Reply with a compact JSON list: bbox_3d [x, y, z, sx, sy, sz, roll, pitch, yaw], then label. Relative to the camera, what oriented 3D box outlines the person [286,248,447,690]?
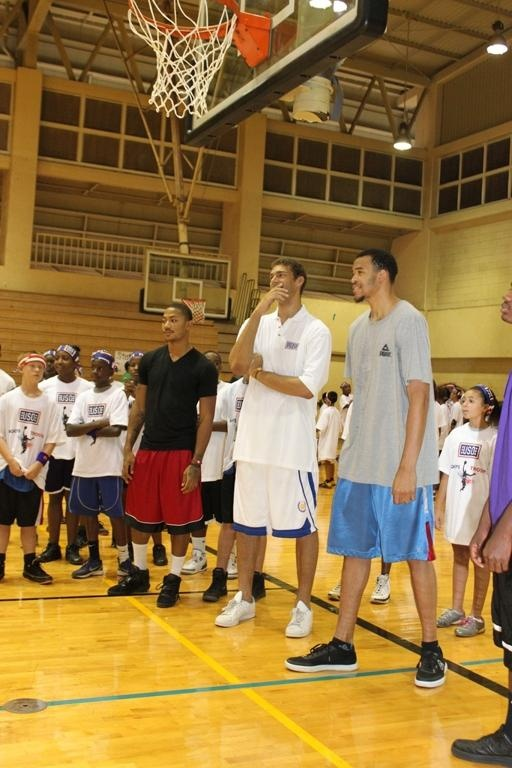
[{"bbox_3d":[0.455,0.406,2.445,0.501,1.490,0.382,-1,-9,30],"label":"person"}]
